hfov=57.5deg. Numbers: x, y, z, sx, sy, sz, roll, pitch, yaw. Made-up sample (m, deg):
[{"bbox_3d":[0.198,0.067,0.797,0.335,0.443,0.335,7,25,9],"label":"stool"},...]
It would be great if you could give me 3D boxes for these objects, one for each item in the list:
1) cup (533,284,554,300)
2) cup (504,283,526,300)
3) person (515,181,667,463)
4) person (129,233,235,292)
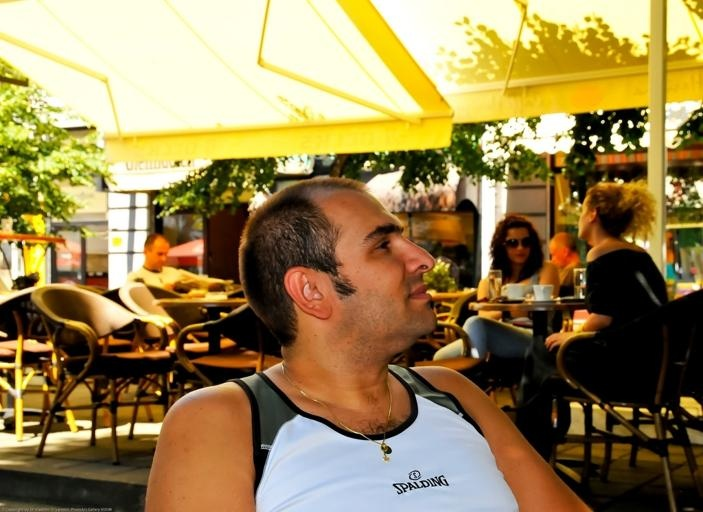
[{"bbox_3d":[1.407,0.252,4.693,0.133,0.113,0.129,-3,-2,0],"label":"cup"},{"bbox_3d":[1.243,0.274,4.896,0.145,0.106,0.121,-6,-4,22],"label":"cup"},{"bbox_3d":[1.616,0.459,4.544,1.016,1.826,0.782,3,1,41],"label":"person"},{"bbox_3d":[-2.094,0.183,8.016,1.476,0.749,0.911,-1,-1,27],"label":"person"}]
